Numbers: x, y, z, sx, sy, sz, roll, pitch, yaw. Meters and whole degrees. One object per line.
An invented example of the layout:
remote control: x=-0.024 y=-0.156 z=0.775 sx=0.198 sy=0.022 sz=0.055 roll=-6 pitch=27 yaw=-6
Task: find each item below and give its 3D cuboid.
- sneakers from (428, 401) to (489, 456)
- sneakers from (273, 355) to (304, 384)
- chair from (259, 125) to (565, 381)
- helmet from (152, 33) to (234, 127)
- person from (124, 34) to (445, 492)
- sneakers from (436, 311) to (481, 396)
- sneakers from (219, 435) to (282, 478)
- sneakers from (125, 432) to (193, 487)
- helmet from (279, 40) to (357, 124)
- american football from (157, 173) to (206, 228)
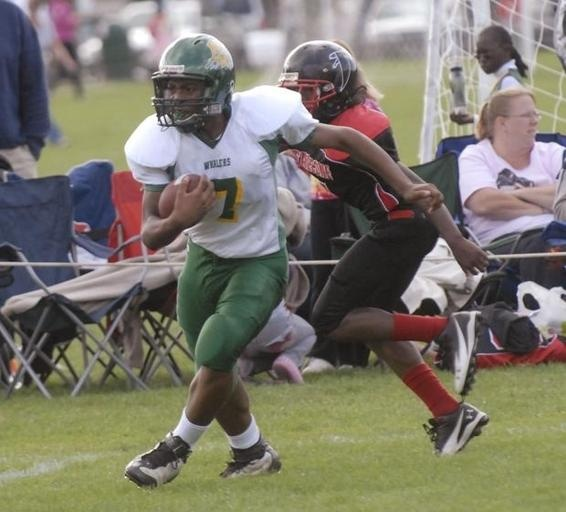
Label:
sneakers: x=0.756 y=0.760 z=5.106 sx=0.166 sy=0.237 sz=0.081 roll=45 pitch=10 yaw=-5
sneakers: x=0.013 y=0.613 z=6.168 sx=0.181 sy=0.103 sz=0.073 roll=41 pitch=39 yaw=0
chair: x=0.840 y=0.073 z=6.368 sx=1.288 sy=1.811 sz=0.998 roll=-1 pitch=-1 yaw=17
helmet: x=-0.369 y=-0.716 z=4.828 sx=0.335 sy=0.402 sz=0.257 roll=0 pitch=8 yaw=-5
person: x=-0.142 y=0.023 z=4.890 sx=1.039 sy=1.877 sz=0.443 roll=-1 pitch=8 yaw=-9
sneakers: x=0.778 y=0.427 z=5.239 sx=0.221 sy=0.406 sz=0.149 roll=-3 pitch=-12 yaw=0
sneakers: x=-0.131 y=0.884 z=5.023 sx=0.271 sy=0.142 sz=0.132 roll=-2 pitch=-8 yaw=1
sneakers: x=-0.494 y=0.817 z=4.871 sx=0.126 sy=0.162 sz=0.352 roll=38 pitch=20 yaw=14
helmet: x=0.136 y=-0.806 z=5.450 sx=0.414 sy=0.333 sz=0.312 roll=-1 pitch=-1 yaw=-33
american football: x=-0.410 y=-0.234 z=4.700 sx=0.108 sy=0.184 sz=0.147 roll=43 pitch=16 yaw=-9
